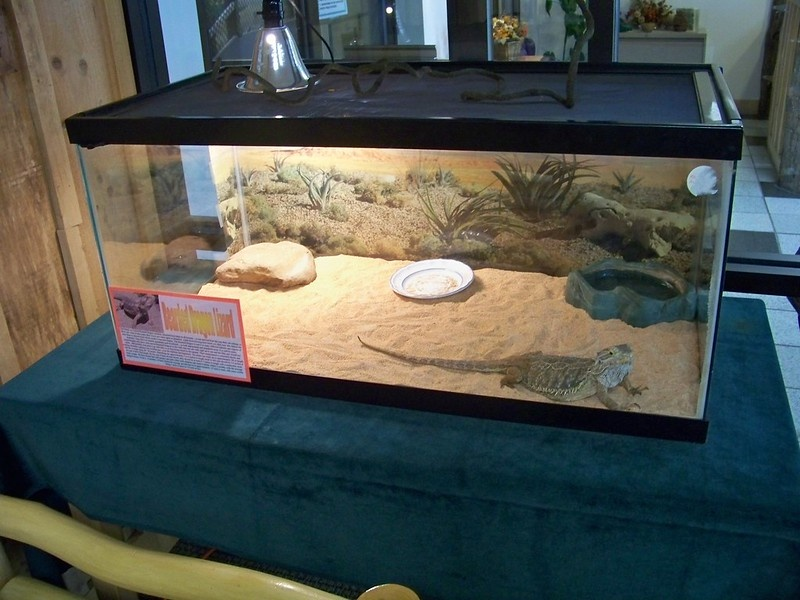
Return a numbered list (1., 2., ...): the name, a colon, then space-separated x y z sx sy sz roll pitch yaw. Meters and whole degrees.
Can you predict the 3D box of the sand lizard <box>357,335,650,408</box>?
1. sand lizard: 0.272 0.163 1.723 0.786 0.121 0.163 9 8 17
